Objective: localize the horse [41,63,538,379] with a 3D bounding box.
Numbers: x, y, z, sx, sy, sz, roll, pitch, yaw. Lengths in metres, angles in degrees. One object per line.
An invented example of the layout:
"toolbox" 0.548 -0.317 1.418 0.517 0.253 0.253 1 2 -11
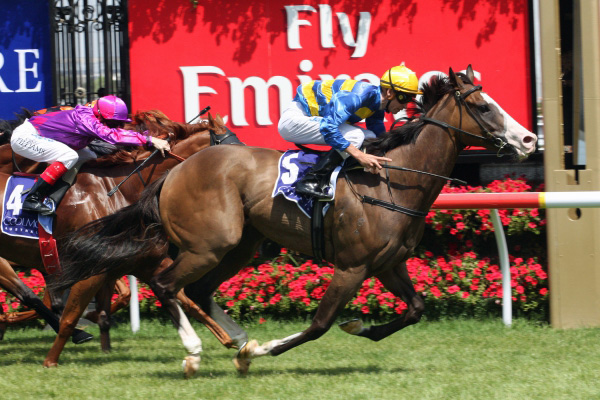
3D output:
"horse" -0.021 0.260 6.487 4.967 2.143 1.065 -4 -7 28

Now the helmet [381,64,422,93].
"helmet" 0.772 -0.942 6.305 0.382 0.179 0.253 12 27 4

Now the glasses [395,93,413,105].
"glasses" 0.787 -0.756 6.254 0.090 0.053 0.116 6 -2 -31

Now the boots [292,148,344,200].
"boots" 0.142 -0.187 6.163 0.300 0.340 0.255 1 13 16

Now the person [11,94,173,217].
"person" -1.617 -0.425 6.846 1.433 0.802 0.703 0 19 1

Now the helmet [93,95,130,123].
"helmet" -1.492 -0.747 6.697 0.359 0.166 0.232 13 19 -2

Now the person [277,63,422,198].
"person" 0.373 -0.566 6.421 1.159 0.890 0.722 10 16 12
